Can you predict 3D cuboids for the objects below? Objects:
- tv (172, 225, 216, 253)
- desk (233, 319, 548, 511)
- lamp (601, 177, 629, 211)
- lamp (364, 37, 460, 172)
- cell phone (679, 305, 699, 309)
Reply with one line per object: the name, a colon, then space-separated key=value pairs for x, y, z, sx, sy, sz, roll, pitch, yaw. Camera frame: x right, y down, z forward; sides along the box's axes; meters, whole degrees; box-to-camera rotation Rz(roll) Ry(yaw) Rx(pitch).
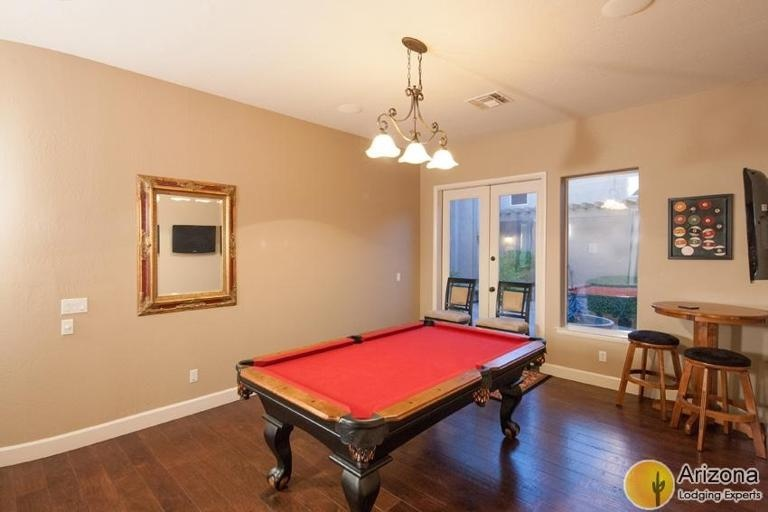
tv: x=-2.179 y=-0.206 z=5.693 sx=0.325 sy=0.232 sz=0.045 roll=-2 pitch=6 yaw=-39
desk: x=-0.140 y=1.141 z=4.498 sx=2.481 sy=0.986 sz=1.593 roll=-2 pitch=1 yaw=-44
lamp: x=2.933 y=-0.759 z=6.382 sx=0.314 sy=0.431 sz=0.307 roll=-2 pitch=1 yaw=-12
lamp: x=0.299 y=-1.507 z=5.593 sx=1.238 sy=1.298 sz=1.352 roll=10 pitch=11 yaw=42
cell phone: x=3.289 y=0.542 z=5.413 sx=0.173 sy=0.025 sz=0.197 roll=2 pitch=1 yaw=24
